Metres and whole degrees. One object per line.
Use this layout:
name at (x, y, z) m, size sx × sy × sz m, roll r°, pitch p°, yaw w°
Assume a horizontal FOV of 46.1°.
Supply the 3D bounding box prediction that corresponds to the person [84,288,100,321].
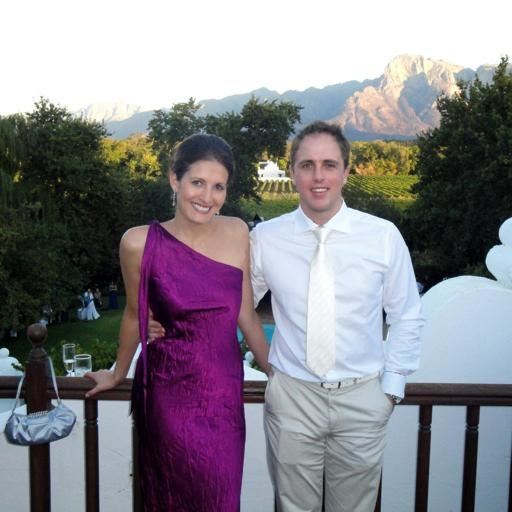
person at (-6.417, 1.931, 23.511) m, size 0.639 × 1.581 × 0.606 m, roll -7°, pitch -12°, yaw -22°

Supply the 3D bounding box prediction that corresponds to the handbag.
handbag at (-1.032, 0.795, 2.888) m, size 0.241 × 0.121 × 0.200 m, roll -3°, pitch 23°, yaw -10°

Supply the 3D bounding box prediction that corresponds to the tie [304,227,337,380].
tie at (0.309, 0.222, 2.917) m, size 0.128 × 0.726 × 0.174 m, roll 0°, pitch 1°, yaw 5°
